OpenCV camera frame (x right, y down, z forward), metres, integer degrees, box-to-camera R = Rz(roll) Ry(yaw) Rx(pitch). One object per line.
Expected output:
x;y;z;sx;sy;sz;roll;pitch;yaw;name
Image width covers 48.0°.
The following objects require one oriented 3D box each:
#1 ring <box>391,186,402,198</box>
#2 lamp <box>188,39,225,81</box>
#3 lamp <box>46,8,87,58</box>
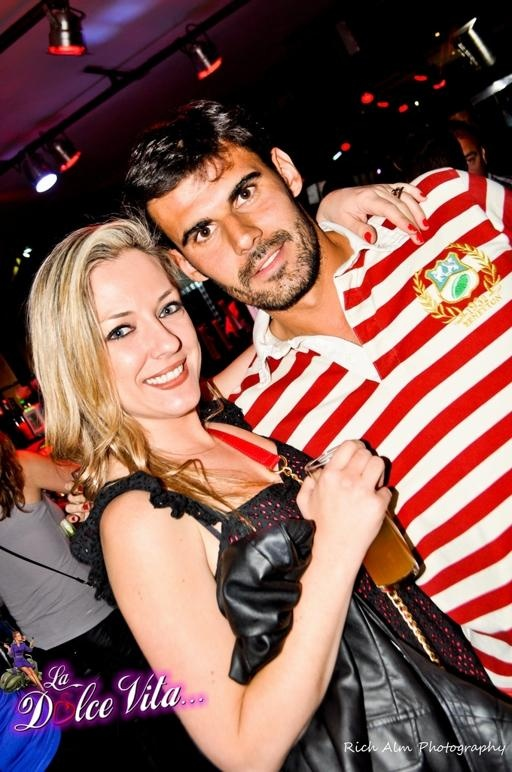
0.482;-0.672;1.978;0.023;0.025;0.065;-5;39;15;ring
-0.468;-2.966;5.203;0.265;0.314;0.153;-11;49;-4;lamp
-1.227;-2.281;3.786;0.291;0.316;0.297;-4;9;-16;lamp
